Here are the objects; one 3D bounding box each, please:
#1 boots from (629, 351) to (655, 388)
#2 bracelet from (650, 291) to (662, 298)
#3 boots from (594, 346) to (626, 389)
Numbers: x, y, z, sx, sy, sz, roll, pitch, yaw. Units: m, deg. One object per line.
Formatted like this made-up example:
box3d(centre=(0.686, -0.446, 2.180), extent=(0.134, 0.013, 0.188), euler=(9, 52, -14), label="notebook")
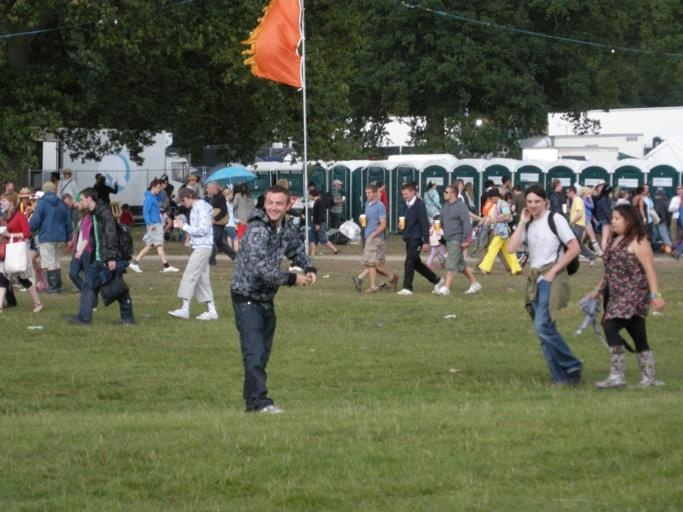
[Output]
box3d(centre=(6.318, 2.367, 33.283), extent=(0.620, 0.952, 0.500), euler=(3, -4, 11), label="boots")
box3d(centre=(6.578, 0.795, 33.395), extent=(0.197, 0.109, 0.277), euler=(3, -14, -1), label="bracelet")
box3d(centre=(5.635, 2.295, 33.315), extent=(0.593, 0.866, 0.581), euler=(-1, 2, 13), label="boots")
